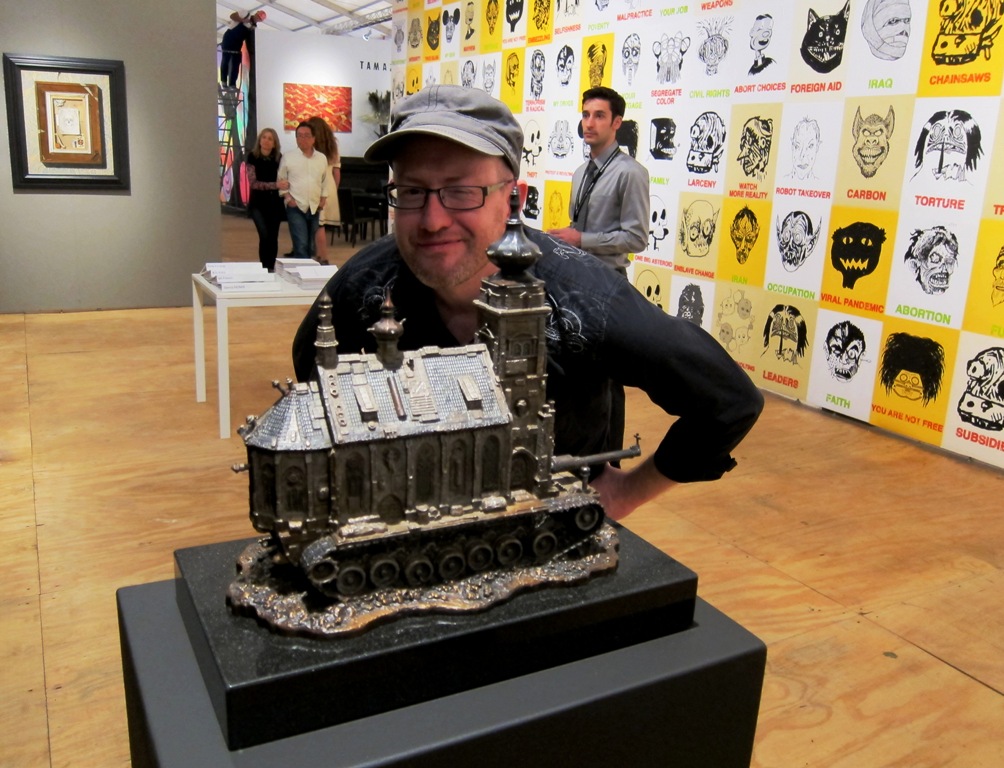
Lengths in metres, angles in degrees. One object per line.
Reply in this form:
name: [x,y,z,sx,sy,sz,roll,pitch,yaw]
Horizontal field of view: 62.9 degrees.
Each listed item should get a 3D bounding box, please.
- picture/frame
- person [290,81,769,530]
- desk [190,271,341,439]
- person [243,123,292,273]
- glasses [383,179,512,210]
picture/frame: [-5.228,-3.136,9.704,1.360,1.863,0.161,-6,14,-30]
person: [0.046,-0.224,2.617,1.518,1.355,0.662,9,16,27]
desk: [-1.931,-0.164,7.150,1.353,1.478,1.433,-6,18,-25]
person: [-3.086,-2.365,10.769,0.536,1.980,0.517,-2,35,-21]
glasses: [-0.170,-0.578,2.505,0.401,0.092,0.229,3,16,4]
